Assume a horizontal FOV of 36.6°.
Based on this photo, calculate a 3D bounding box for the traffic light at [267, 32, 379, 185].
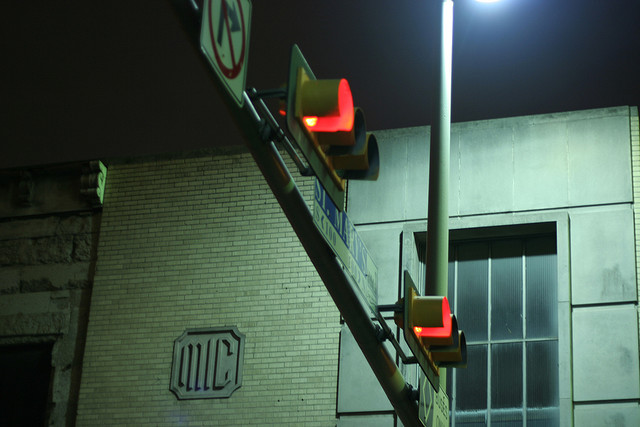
[{"bbox_3d":[0.199,-1.138,13.392,0.660,1.281,2.834,3,-17,17],"label":"traffic light"}]

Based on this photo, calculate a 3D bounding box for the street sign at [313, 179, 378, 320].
[{"bbox_3d":[0.348,0.524,13.852,0.118,1.430,1.944,-9,-21,25],"label":"street sign"}]

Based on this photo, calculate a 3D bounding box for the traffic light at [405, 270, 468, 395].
[{"bbox_3d":[1.769,1.744,15.133,0.553,1.239,2.162,0,-17,16],"label":"traffic light"}]
